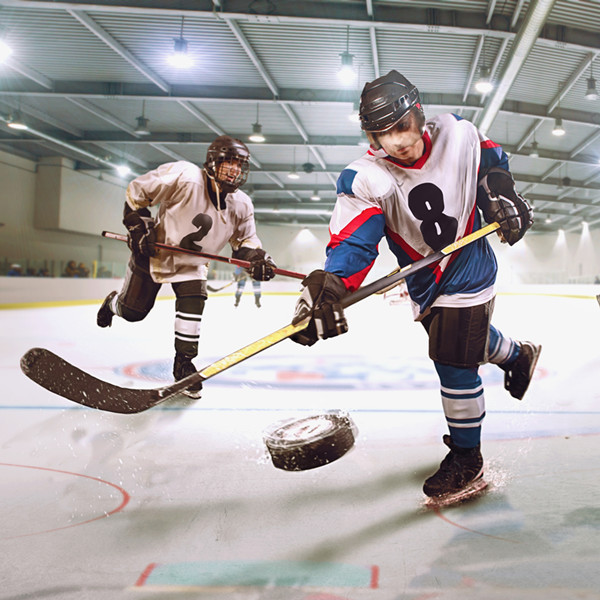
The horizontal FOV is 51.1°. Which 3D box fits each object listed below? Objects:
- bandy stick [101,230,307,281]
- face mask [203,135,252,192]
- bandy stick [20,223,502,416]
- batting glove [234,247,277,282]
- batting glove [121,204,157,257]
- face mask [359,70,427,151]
[{"bbox_3d":[-0.439,-0.212,3.317,0.985,0.039,0.023,9,-25,-14],"label":"bandy stick"},{"bbox_3d":[-0.351,-0.695,3.220,0.293,0.242,0.203,-2,7,1],"label":"face mask"},{"bbox_3d":[-0.097,0.153,2.208,1.196,0.710,1.110,0,8,4],"label":"bandy stick"},{"bbox_3d":[-0.253,-0.201,3.438,0.144,0.132,0.272,2,18,-47],"label":"batting glove"},{"bbox_3d":[-0.815,-0.352,3.183,0.247,0.246,0.187,-5,12,-30],"label":"batting glove"},{"bbox_3d":[0.249,-0.542,1.868,0.208,0.215,0.218,-28,-59,28],"label":"face mask"}]
